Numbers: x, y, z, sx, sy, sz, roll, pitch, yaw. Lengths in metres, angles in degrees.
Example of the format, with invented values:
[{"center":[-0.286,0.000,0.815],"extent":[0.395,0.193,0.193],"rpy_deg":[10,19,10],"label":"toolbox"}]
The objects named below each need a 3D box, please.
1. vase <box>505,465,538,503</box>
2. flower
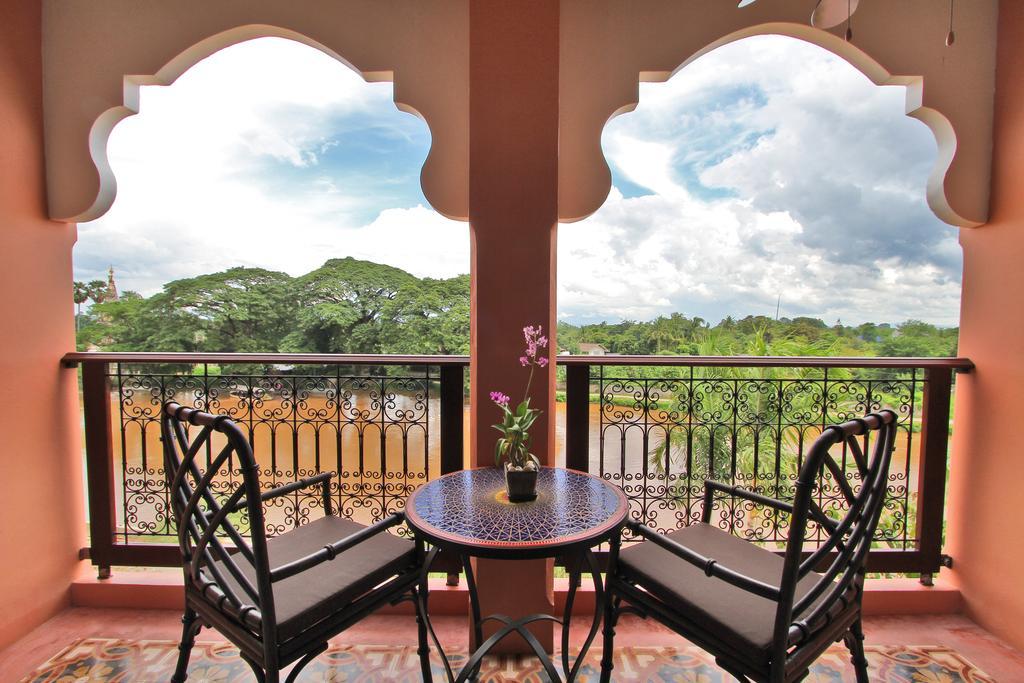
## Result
[{"center":[0.062,0.941,4.973],"extent":[0.259,0.199,0.215],"rpy_deg":[0,-3,-1],"label":"vase"},{"center":[0.062,0.404,5.227],"extent":[0.435,1.007,0.611],"rpy_deg":[0,5,2],"label":"flower"}]
